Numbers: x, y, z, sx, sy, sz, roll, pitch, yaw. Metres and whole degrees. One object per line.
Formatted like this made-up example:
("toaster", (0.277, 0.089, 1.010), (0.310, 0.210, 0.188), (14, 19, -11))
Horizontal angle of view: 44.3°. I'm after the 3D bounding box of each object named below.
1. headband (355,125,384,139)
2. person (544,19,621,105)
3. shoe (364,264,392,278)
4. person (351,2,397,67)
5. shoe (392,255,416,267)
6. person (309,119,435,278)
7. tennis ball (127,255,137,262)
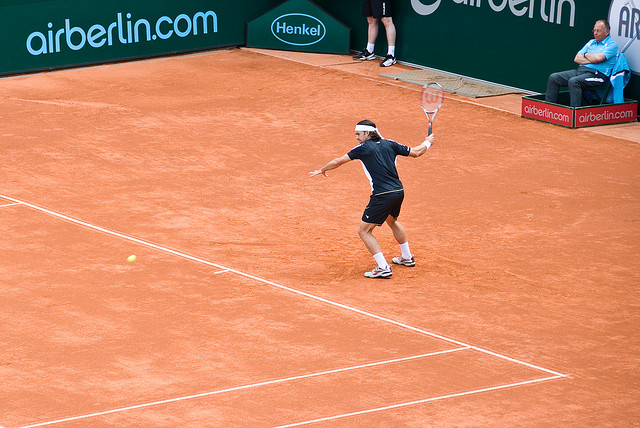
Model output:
("headband", (0.580, -0.997, 9.314), (0.284, 0.146, 0.206), (0, 13, -2))
("person", (4.824, -2.762, 14.314), (1.165, 1.499, 0.544), (3, 17, 9))
("shoe", (0.703, 0.698, 9.287), (0.423, 0.113, 0.117), (0, 6, 6))
("person", (1.372, -4.270, 18.655), (0.734, 1.495, 1.153), (-7, 17, -23))
("shoe", (1.022, 0.578, 9.670), (0.317, 0.092, 0.110), (8, 16, 31))
("person", (0.710, -0.198, 9.389), (0.857, 1.846, 0.779), (7, 18, 20))
("tennis ball", (-2.291, 0.536, 9.581), (0.102, 0.042, 0.066), (-22, 40, -20))
